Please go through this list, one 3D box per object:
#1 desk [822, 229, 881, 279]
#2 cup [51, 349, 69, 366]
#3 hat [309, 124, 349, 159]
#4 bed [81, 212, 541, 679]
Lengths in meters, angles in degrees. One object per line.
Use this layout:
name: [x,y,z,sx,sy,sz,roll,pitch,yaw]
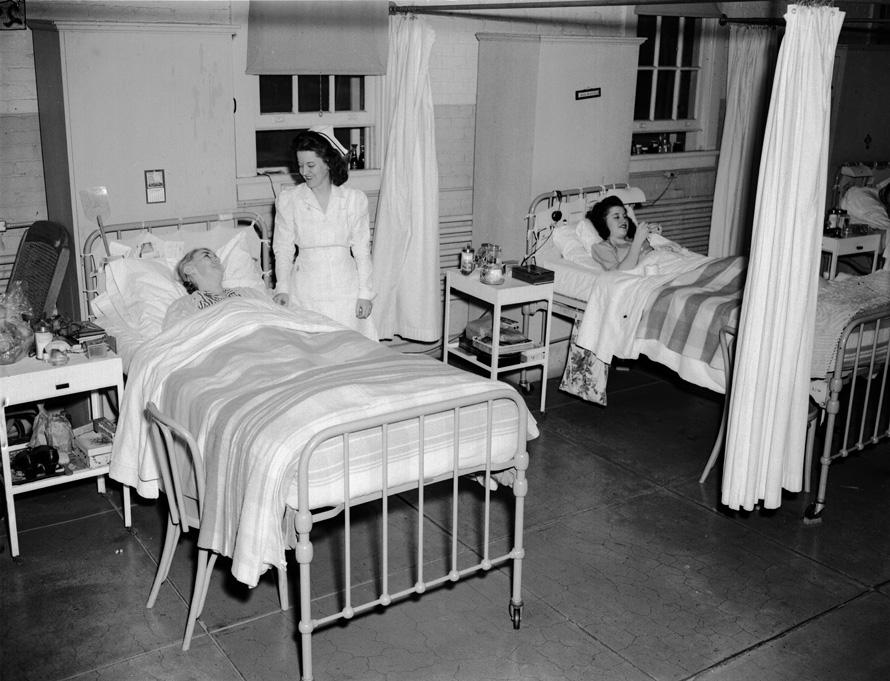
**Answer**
desk: [3.808,-0.821,6.820,0.523,0.370,0.325,-8,25,-14]
cup: [-2.126,0.090,4.004,0.096,0.069,0.133,-12,21,-28]
hat: [-0.819,-1.389,5.124,0.283,0.223,0.146,-17,24,-39]
bed: [-0.695,0.305,3.758,1.459,1.359,1.916,-11,26,-33]
